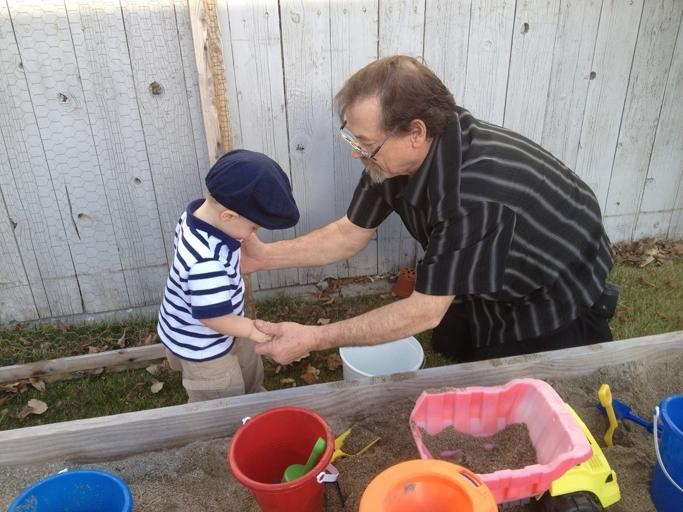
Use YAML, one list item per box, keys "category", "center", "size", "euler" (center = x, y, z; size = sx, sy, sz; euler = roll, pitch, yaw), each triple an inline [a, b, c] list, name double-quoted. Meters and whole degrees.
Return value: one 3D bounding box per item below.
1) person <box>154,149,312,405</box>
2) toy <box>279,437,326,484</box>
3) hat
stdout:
- category: "person"
  center: [-0.631, 0.100, 2.682]
  size: [0.650, 1.531, 0.786]
  euler: [-3, 51, -8]
- category: "toy"
  center: [-0.157, 0.851, 2.022]
  size: [0.183, 0.182, 0.107]
  euler: [-37, 53, -27]
- category: "hat"
  center: [-0.403, -0.276, 2.277]
  size: [0.415, 0.218, 0.304]
  euler: [24, 47, 1]
